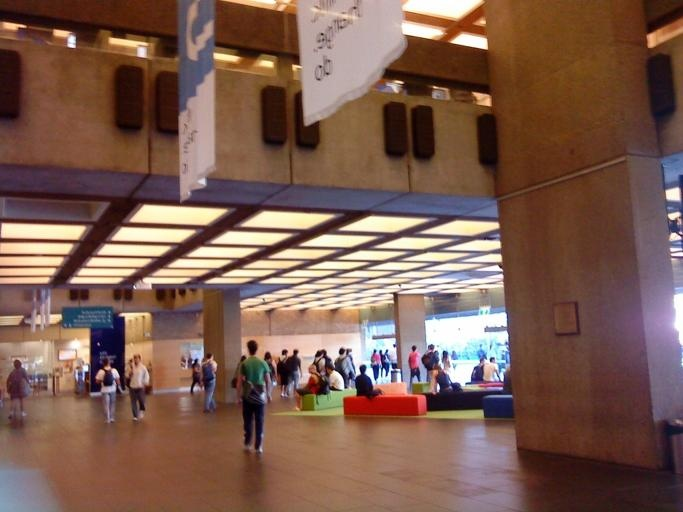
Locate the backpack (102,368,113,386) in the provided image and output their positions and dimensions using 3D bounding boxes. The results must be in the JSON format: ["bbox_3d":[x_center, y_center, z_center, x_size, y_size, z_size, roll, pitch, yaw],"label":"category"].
[{"bbox_3d":[-6.853,3.588,18.021,0.334,0.571,0.404,1,-10,-23],"label":"backpack"}]

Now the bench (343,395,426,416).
[{"bbox_3d":[1.196,4.210,17.055,2.351,0.553,0.442,-10,-12,32],"label":"bench"}]

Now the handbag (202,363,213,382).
[{"bbox_3d":[-4.321,3.821,19.904,0.477,0.687,0.379,3,-27,-11],"label":"handbag"}]

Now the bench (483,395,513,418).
[{"bbox_3d":[3.802,3.696,14.875,0.664,0.514,0.687,2,-6,-19],"label":"bench"}]
